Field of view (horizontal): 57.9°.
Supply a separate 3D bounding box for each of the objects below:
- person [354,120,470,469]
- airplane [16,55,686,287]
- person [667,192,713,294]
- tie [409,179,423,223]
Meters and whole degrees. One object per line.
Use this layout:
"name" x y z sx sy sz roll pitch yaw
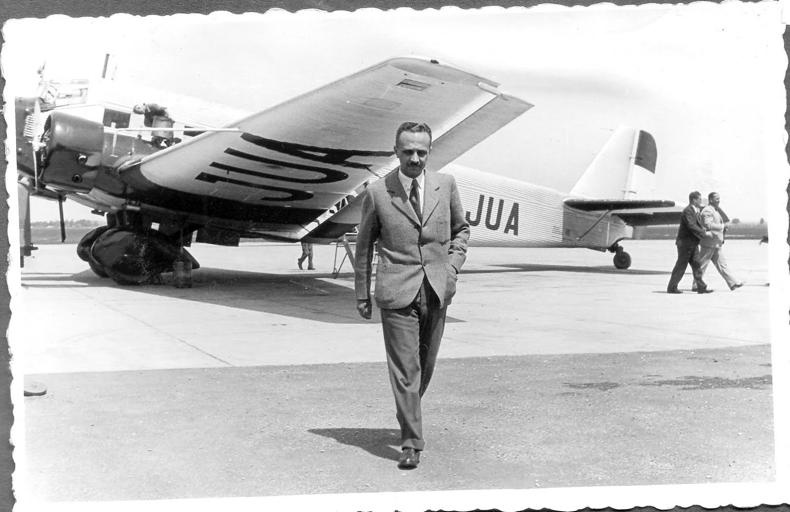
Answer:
"person" 0.066 0.389 5.435 0.816 2.050 0.915 5 15 12
"airplane" -2.073 -1.379 12.122 6.557 1.742 8.206 -1 8 -24
"person" 4.874 -0.193 11.582 0.584 1.719 0.360 5 16 15
"tie" 0.165 -0.423 5.506 0.090 0.334 0.090 -6 -4 -11
